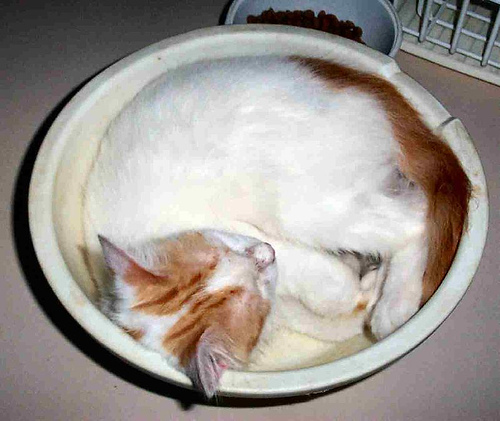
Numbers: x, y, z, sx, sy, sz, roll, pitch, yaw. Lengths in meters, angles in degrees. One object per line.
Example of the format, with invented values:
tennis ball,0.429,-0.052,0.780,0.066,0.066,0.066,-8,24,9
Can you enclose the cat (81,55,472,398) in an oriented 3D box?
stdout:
cat,0.097,-0.056,1.840,0.780,0.396,0.863,43,93,8
